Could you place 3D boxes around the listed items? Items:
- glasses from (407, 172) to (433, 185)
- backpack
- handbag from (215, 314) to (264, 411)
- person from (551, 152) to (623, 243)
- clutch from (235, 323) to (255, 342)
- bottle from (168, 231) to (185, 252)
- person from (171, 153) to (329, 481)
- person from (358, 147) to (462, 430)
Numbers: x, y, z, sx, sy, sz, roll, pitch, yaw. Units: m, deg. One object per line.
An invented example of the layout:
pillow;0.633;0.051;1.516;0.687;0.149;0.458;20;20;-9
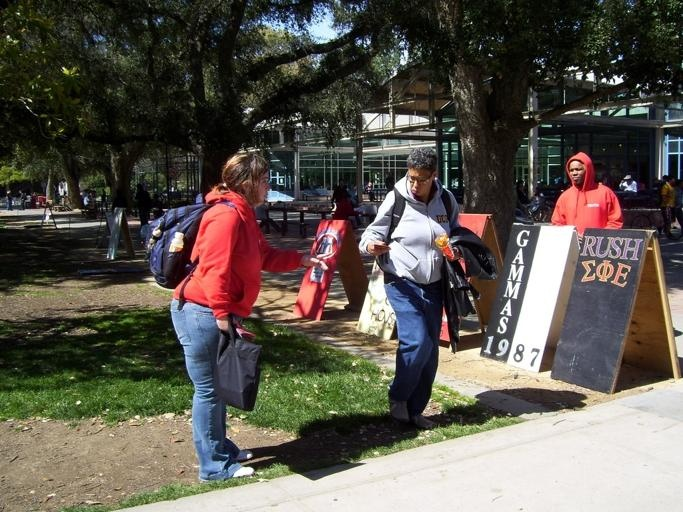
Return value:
glasses;0.631;-0.633;4.610;0.229;0.084;0.169;3;8;26
backpack;-1.065;-0.088;3.852;0.604;0.542;0.438;-10;9;-8
handbag;-0.664;0.725;3.546;0.254;0.630;0.341;-5;8;-34
person;3.089;-0.622;7.049;0.634;1.322;0.982;0;0;-42
clutch;-0.631;0.513;3.591;0.118;0.042;0.117;36;10;-35
bottle;-1.092;-0.086;3.679;0.091;0.125;0.087;23;1;-1
person;-0.784;0.438;3.710;0.665;2.233;0.449;-3;7;-17
person;0.586;0.386;4.680;0.809;2.066;0.575;-2;6;-6
